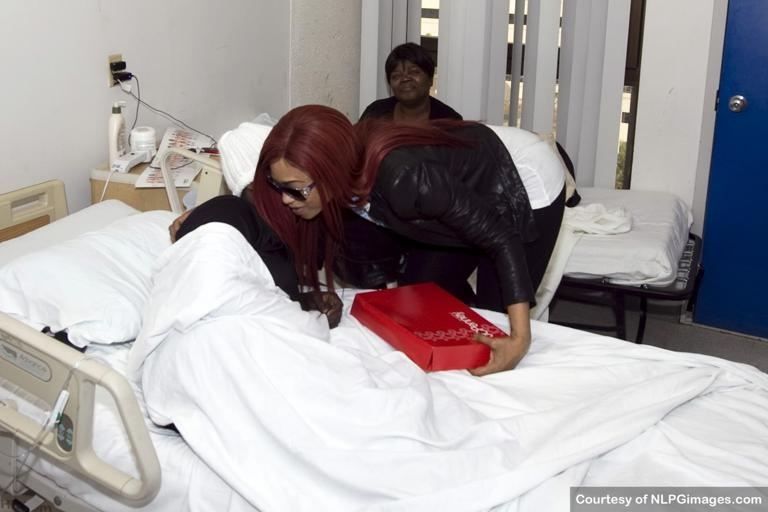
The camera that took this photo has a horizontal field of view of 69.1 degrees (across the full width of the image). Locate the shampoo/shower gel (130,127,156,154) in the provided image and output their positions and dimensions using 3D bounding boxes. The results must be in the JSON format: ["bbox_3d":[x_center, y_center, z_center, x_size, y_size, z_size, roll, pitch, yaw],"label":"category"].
[{"bbox_3d":[-1.189,-0.576,2.806,0.118,0.124,0.121,2,25,-5],"label":"shampoo/shower gel"}]

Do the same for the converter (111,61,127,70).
[{"bbox_3d":[-1.297,-0.931,2.726,0.020,0.043,0.100,7,24,16],"label":"converter"}]

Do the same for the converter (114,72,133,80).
[{"bbox_3d":[-1.286,-0.885,2.737,0.015,0.042,0.094,14,27,30],"label":"converter"}]
